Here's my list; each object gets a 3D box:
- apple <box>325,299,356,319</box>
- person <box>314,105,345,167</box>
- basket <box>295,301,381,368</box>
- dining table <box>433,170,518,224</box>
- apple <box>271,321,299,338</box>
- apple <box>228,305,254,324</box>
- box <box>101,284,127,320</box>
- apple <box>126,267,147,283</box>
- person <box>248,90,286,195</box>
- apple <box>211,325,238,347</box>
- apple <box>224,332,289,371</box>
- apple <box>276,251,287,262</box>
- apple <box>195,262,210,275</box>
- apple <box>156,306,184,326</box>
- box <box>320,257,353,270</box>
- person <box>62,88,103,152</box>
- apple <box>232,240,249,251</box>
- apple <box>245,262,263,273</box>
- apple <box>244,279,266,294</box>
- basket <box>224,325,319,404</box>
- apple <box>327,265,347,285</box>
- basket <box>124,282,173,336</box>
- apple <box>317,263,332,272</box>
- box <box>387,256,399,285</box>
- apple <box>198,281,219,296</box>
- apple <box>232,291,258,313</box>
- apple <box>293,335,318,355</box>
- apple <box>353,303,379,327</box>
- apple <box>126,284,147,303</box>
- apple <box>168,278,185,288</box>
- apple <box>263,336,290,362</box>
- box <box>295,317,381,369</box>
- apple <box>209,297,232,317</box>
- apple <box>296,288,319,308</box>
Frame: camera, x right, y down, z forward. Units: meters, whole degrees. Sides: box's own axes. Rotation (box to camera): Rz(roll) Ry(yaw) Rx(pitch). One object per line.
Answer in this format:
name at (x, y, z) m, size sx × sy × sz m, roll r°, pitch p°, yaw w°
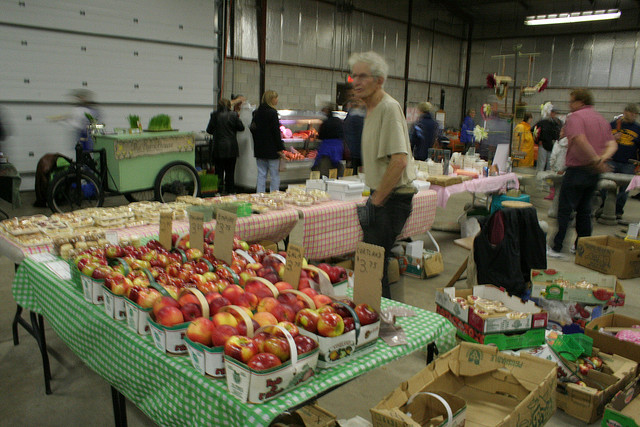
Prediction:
apple at (0.121, 0.485, 2.205) m, size 0.086 × 0.113 × 0.090 m, roll 3°, pitch 8°, yaw 29°
person at (0.173, -1.168, 7.077) m, size 0.474 × 1.250 × 0.450 m, roll 0°, pitch 33°, yaw -8°
basket at (0.095, 0.595, 2.222) m, size 0.315 × 0.259 × 0.314 m, roll -5°, pitch 12°, yaw -33°
dining table at (2.371, -0.227, 6.482) m, size 1.683 × 0.476 × 0.659 m, roll -10°, pitch -8°, yaw -30°
apple at (-0.163, 0.555, 2.047) m, size 0.078 × 0.085 × 0.080 m, roll -8°, pitch 23°, yaw -41°
apple at (-0.408, 0.507, 2.124) m, size 0.091 × 0.054 × 0.073 m, roll 7°, pitch -7°, yaw -30°
box at (-1.139, 0.503, 2.406) m, size 0.165 × 0.138 × 0.137 m, roll 19°, pitch 19°, yaw 31°
apple at (-1.051, 0.343, 2.417) m, size 0.080 × 0.113 × 0.084 m, roll 2°, pitch -5°, yaw 5°
person at (-0.966, -1.240, 7.562) m, size 0.570 × 1.794 × 0.445 m, roll 3°, pitch 14°, yaw 3°
apple at (-0.463, 0.572, 2.024) m, size 0.095 × 0.104 × 0.094 m, roll 1°, pitch -3°, yaw -16°
apple at (-0.287, 0.638, 1.947) m, size 0.143 × 0.086 × 0.204 m, roll 2°, pitch 8°, yaw -2°
apple at (-0.243, 0.276, 2.723) m, size 0.044 × 0.048 × 0.057 m, roll -1°, pitch -39°, yaw 35°
apple at (-0.701, 0.326, 2.531) m, size 0.061 × 0.085 × 0.064 m, roll -2°, pitch 3°, yaw 15°
apple at (-0.752, 0.515, 2.127) m, size 0.093 × 0.120 × 0.095 m, roll 7°, pitch 7°, yaw -16°
box at (0.184, 0.544, 4.879) m, size 0.276 × 0.100 × 0.268 m, roll 13°, pitch 12°, yaw 35°
person at (-4.086, -1.637, 7.298) m, size 0.580 × 0.998 × 2.503 m, roll -5°, pitch 16°, yaw -26°
apple at (-0.523, 0.210, 2.812) m, size 0.059 × 0.053 × 0.083 m, roll 0°, pitch 3°, yaw -1°
apple at (-0.404, 0.325, 2.557) m, size 0.059 × 0.063 × 0.059 m, roll 6°, pitch -8°, yaw -34°
apple at (-0.361, 0.392, 2.311) m, size 0.071 × 0.041 × 0.074 m, roll -2°, pitch 11°, yaw -21°
basket at (-0.223, 0.686, 2.067) m, size 0.277 × 0.313 × 0.446 m, roll 5°, pitch 4°, yaw 42°
apple at (0.090, 0.358, 2.496) m, size 0.110 × 0.099 × 0.093 m, roll -1°, pitch -14°, yaw -30°
basket at (-0.946, 0.498, 2.365) m, size 0.215 × 0.239 × 0.279 m, roll 4°, pitch 9°, yaw -34°
apple at (0.024, 0.308, 2.468) m, size 0.049 × 0.051 × 0.051 m, roll 6°, pitch 10°, yaw 4°
box at (0.902, 0.684, 5.154) m, size 0.141 × 0.273 × 0.265 m, roll 4°, pitch 14°, yaw 7°
apple at (-0.615, 0.406, 2.329) m, size 0.068 × 0.083 × 0.066 m, roll -22°, pitch 18°, yaw -23°
apple at (-0.400, 0.457, 2.231) m, size 0.099 × 0.108 × 0.098 m, roll 3°, pitch -5°, yaw 37°
apple at (-0.070, 0.607, 2.023) m, size 0.077 × 0.081 × 0.071 m, roll -16°, pitch 19°, yaw -40°
apple at (0.239, 0.510, 2.202) m, size 0.101 × 0.105 × 0.101 m, roll 20°, pitch 3°, yaw -41°
apple at (-0.997, 0.419, 2.270) m, size 0.080 × 0.095 × 0.083 m, roll 21°, pitch -4°, yaw 12°
apple at (-0.810, 0.387, 2.386) m, size 0.077 × 0.048 × 0.060 m, roll 9°, pitch -7°, yaw 0°
apple at (-0.196, 0.618, 2.013) m, size 0.108 × 0.110 × 0.104 m, roll -25°, pitch 16°, yaw 7°
box at (0.144, 0.655, 2.113) m, size 0.245 × 0.111 × 0.260 m, roll -9°, pitch 15°, yaw -26°
apple at (-0.522, 0.476, 2.232) m, size 0.094 × 0.115 × 0.084 m, roll -4°, pitch 10°, yaw -27°
apple at (-0.067, 0.450, 2.277) m, size 0.085 × 0.103 × 0.086 m, roll 0°, pitch -1°, yaw 34°
